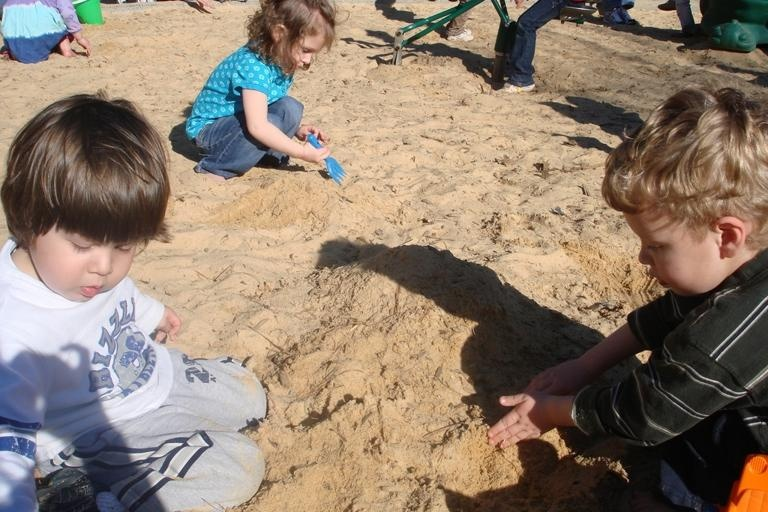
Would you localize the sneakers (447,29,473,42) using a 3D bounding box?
[{"bbox_3d":[0.916,-2.646,8.198,0.302,0.119,0.129,-2,36,-4],"label":"sneakers"}]

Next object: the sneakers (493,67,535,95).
[{"bbox_3d":[1.284,-1.678,6.718,0.395,0.152,0.169,1,16,-4],"label":"sneakers"}]
